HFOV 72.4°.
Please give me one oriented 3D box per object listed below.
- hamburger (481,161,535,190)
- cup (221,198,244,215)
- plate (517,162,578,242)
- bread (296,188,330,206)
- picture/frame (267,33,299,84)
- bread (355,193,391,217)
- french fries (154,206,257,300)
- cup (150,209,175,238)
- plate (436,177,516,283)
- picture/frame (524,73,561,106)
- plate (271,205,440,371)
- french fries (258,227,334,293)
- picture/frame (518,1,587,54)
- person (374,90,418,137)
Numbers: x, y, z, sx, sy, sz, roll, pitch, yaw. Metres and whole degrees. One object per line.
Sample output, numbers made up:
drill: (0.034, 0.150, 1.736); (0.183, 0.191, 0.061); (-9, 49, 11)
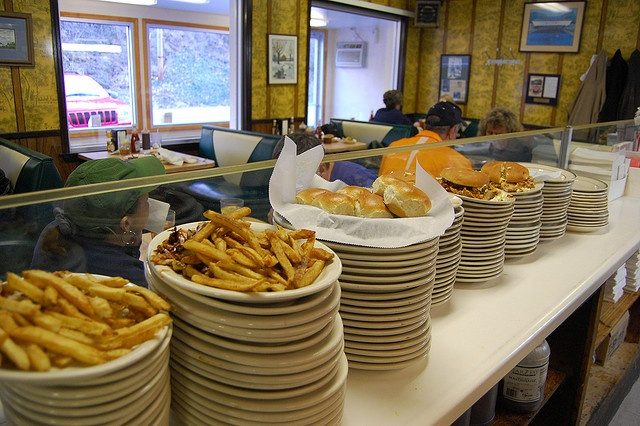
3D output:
hamburger: (0.631, -0.120, 1.517); (0.228, 0.078, 0.196); (-4, 3, -32)
cup: (-0.205, -0.019, 1.011); (0.054, 0.038, 0.047); (-4, 14, -22)
plate: (0.860, -0.052, 1.662); (0.254, 0.185, 0.279); (5, 12, 27)
bread: (-0.021, -0.041, 1.031); (0.052, 0.016, 0.046); (5, 18, 41)
picture/frame: (-0.498, -2.009, 5.608); (0.056, 0.751, 0.638); (11, 16, 42)
bread: (0.122, -0.026, 0.984); (0.059, 0.032, 0.057); (2, 17, 1)
french fries: (-0.187, 0.077, 0.734); (0.158, 0.066, 0.140); (11, 31, -4)
cup: (-0.333, 0.015, 0.943); (0.054, 0.059, 0.053); (5, 21, -2)
plate: (0.477, 0.035, 1.370); (0.262, 0.208, 0.286); (7, 15, 32)
picture/frame: (3.383, -1.879, 6.585); (0.047, 0.452, 0.475); (-12, 24, -40)
plate: (0.107, 0.159, 1.075); (0.329, 0.286, 0.318); (12, 17, 43)
french fries: (-0.042, 0.078, 0.764); (0.098, 0.037, 0.114); (29, 20, 32)
picture/frame: (3.422, -2.724, 6.347); (0.065, 0.712, 0.812); (-21, 35, -40)
person: (0.995, -1.321, 5.984); (0.390, 0.698, 0.702); (-7, 19, -33)
